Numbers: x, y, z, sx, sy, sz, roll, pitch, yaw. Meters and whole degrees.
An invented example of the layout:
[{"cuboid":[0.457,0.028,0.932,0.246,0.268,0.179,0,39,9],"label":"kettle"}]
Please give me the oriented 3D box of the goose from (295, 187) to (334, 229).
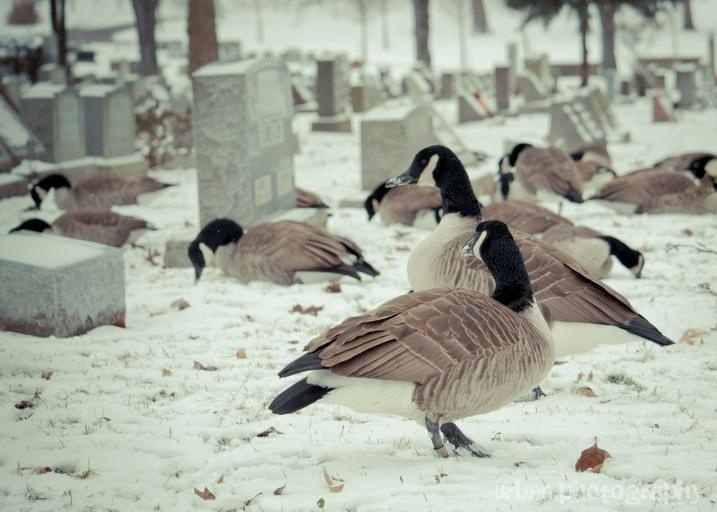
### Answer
[{"cuboid":[-0.797,-0.885,22.992,0.727,0.199,0.703,35,30,23],"label":"goose"}]
